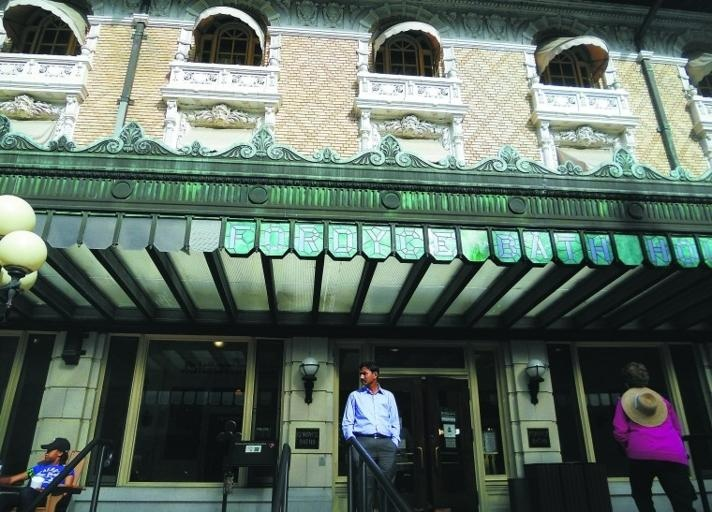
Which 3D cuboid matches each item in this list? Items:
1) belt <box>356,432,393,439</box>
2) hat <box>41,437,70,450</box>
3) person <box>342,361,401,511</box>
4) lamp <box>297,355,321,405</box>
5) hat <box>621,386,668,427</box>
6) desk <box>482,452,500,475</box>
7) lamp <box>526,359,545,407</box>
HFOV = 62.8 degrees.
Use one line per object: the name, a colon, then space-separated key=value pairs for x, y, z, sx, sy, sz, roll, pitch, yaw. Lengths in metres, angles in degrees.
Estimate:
belt: x=0.267 y=3.053 z=9.935 sx=0.245 sy=0.060 sz=0.256 roll=9 pitch=-11 yaw=-43
hat: x=-5.822 y=3.663 z=11.296 sx=0.470 sy=0.215 sz=0.286 roll=5 pitch=-7 yaw=-5
person: x=0.299 y=2.824 z=10.031 sx=0.971 sy=1.928 sz=0.467 roll=9 pitch=-26 yaw=-23
lamp: x=-1.042 y=2.762 z=12.864 sx=0.450 sy=0.968 sz=0.425 roll=-1 pitch=-24 yaw=-1
hat: x=5.160 y=2.608 z=10.332 sx=0.792 sy=0.744 sz=0.212 roll=11 pitch=-41 yaw=9
desk: x=3.075 y=4.706 z=13.286 sx=0.418 sy=0.549 sz=0.407 roll=-2 pitch=2 yaw=0
lamp: x=4.105 y=2.858 z=13.278 sx=0.425 sy=0.984 sz=0.447 roll=-7 pitch=-25 yaw=13
